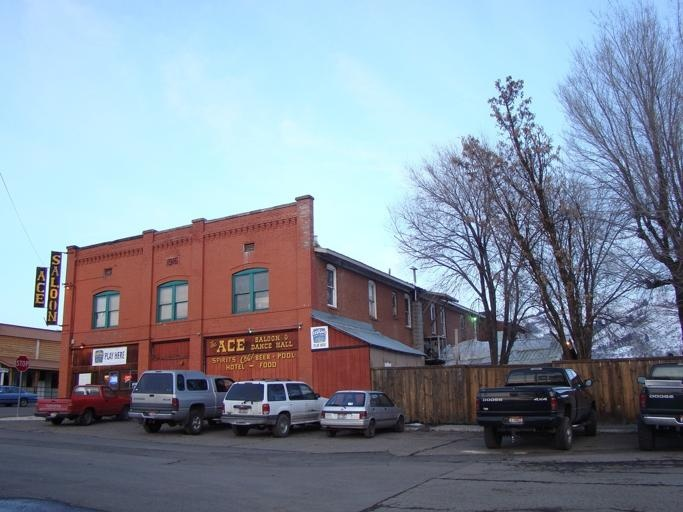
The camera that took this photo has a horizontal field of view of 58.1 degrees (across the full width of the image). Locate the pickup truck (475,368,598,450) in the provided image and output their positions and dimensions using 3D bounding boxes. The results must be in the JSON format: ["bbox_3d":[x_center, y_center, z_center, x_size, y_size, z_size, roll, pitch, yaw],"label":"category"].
[{"bbox_3d":[6.114,4.439,18.595,2.075,1.713,3.915,-5,-8,30],"label":"pickup truck"}]

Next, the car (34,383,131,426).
[{"bbox_3d":[-11.655,6.740,27.958,1.237,1.769,3.796,-12,-18,37],"label":"car"}]
